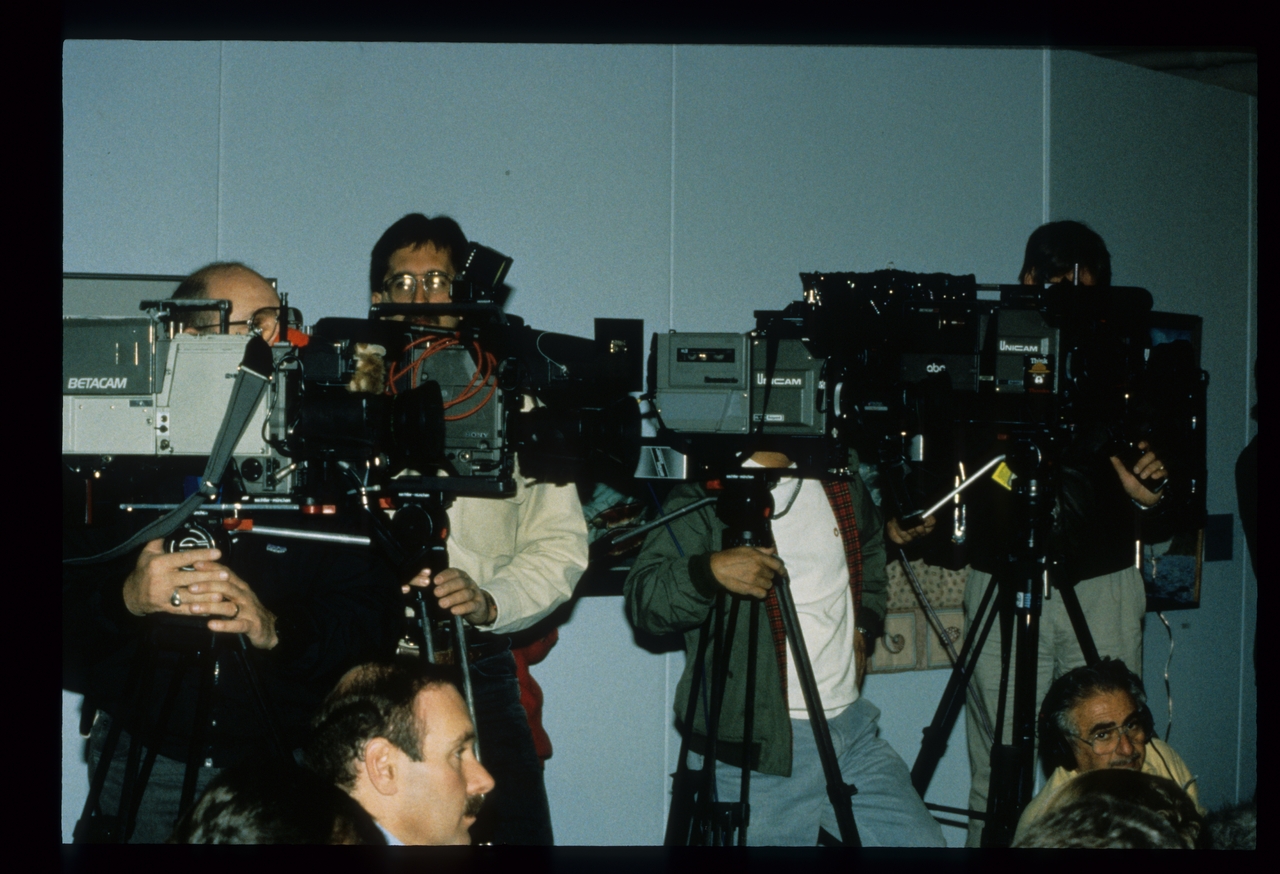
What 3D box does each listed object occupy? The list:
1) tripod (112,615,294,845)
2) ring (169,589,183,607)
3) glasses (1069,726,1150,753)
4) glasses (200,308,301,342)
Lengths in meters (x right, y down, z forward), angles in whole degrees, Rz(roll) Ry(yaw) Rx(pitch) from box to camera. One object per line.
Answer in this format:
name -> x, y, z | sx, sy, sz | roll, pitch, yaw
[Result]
tripod -> -1.540, 1.022, 4.620 | 0.761, 0.718, 0.222 | 1, -4, 3
ring -> -1.596, 0.560, 4.503 | 0.038, 0.051, 0.017 | -2, 1, -1
glasses -> 1.751, 1.116, 4.874 | 0.293, 0.140, 0.051 | 2, 4, -3
glasses -> -1.370, -0.408, 4.751 | 0.227, 0.073, 0.226 | -2, -1, 42
